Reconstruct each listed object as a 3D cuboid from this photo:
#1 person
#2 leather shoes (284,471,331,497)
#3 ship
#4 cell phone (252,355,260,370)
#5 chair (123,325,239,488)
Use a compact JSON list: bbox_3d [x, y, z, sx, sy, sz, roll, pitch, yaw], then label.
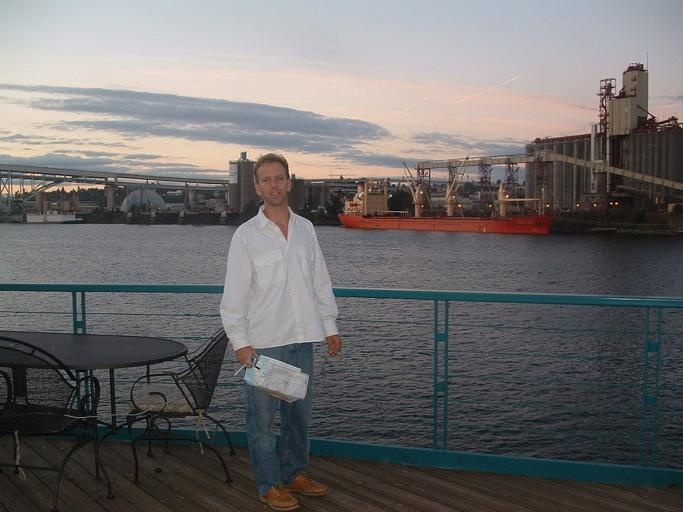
[{"bbox_3d":[-0.371,0.459,5.030,0.774,2.187,0.607,-2,10,-23],"label":"person"},{"bbox_3d":[-0.216,1.454,5.165,0.298,0.097,0.116,1,9,13],"label":"leather shoes"},{"bbox_3d":[9.852,-5.902,78.669,2.881,6.811,27.131,-8,8,-38],"label":"ship"},{"bbox_3d":[-0.524,0.630,4.834,0.059,0.080,0.086,-1,9,-17],"label":"cell phone"},{"bbox_3d":[-1.082,0.981,5.431,0.897,0.860,0.769,0,-4,-25],"label":"chair"}]
